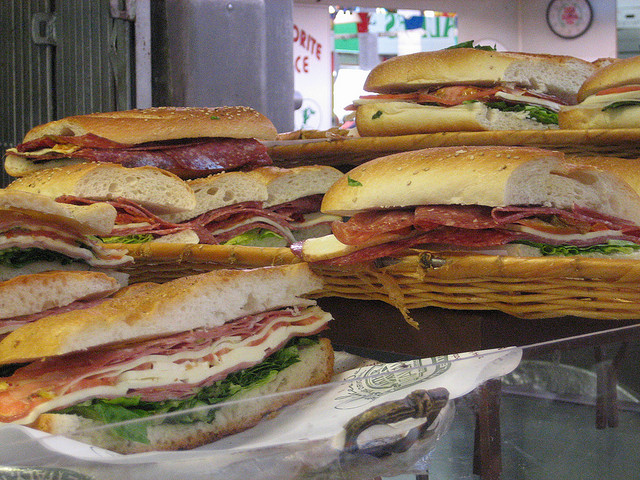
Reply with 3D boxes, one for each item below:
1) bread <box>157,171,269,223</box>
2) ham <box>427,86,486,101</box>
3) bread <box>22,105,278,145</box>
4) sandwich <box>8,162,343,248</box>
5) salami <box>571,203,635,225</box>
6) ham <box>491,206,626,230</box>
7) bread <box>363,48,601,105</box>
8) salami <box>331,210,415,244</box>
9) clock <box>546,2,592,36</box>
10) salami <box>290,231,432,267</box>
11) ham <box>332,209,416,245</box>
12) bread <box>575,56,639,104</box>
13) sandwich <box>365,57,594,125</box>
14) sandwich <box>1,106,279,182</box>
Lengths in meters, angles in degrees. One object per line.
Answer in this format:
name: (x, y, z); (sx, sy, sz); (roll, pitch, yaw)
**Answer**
bread: (-0.339, -0.149, 2.185); (0.254, 0.059, 0.269); (-10, -2, 44)
ham: (0.432, -0.468, 2.241); (0.097, 0.012, 0.095); (-5, 0, -29)
bread: (-0.460, -0.352, 2.198); (0.487, 0.069, 0.300); (-3, 6, -31)
sandwich: (-0.330, -0.069, 2.139); (0.699, 0.132, 0.478); (2, -4, -41)
salami: (0.566, -0.056, 1.450); (0.171, 0.025, 0.025); (11, 11, 11)
ham: (0.481, -0.052, 1.431); (0.248, 0.028, 0.074); (3, -10, 3)
bread: (0.600, -0.581, 2.460); (0.742, 0.099, 0.747); (13, 17, 39)
salami: (0.119, -0.034, 1.521); (0.171, 0.020, 0.093); (-10, 17, -23)
clock: (2.945, -2.649, 8.431); (0.645, 0.368, 0.123); (-1, -1, 33)
salami: (0.036, 0.013, 1.605); (0.217, 0.024, 0.137); (-3, -17, -40)
ham: (0.115, -0.035, 1.524); (0.175, 0.020, 0.098); (-10, 18, -26)
bread: (0.806, -0.456, 2.013); (0.081, 0.116, 0.225); (-8, 12, -20)
sandwich: (0.576, -0.512, 2.441); (0.729, 0.123, 0.671); (-8, 19, -43)
sandwich: (-0.463, -0.305, 2.237); (0.578, 0.103, 0.438); (-4, 4, -43)
